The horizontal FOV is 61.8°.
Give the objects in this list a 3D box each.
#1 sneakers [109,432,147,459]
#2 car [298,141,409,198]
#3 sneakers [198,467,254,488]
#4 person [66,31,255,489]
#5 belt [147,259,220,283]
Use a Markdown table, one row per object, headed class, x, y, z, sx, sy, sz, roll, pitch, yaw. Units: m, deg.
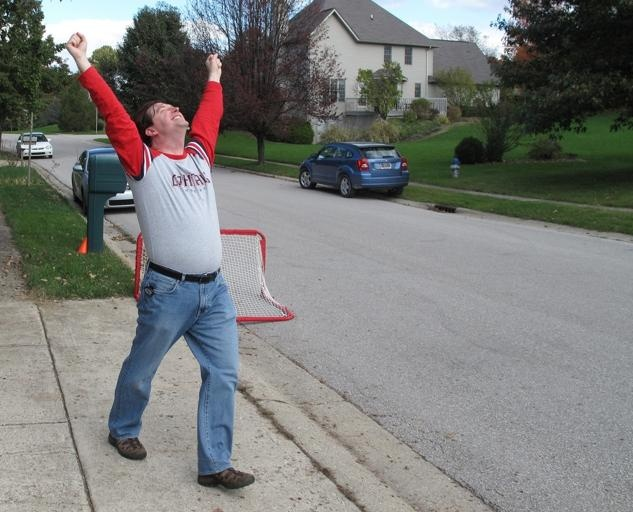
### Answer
| class | x | y | z | sx | sy | sz | roll | pitch | yaw |
| --- | --- | --- | --- | --- | --- | --- | --- | --- | --- |
| sneakers | -1.170 | 1.165 | 3.315 | 0.270 | 0.135 | 0.103 | 7 | 7 | 38 |
| car | 1.471 | -3.422 | 20.654 | 1.550 | 2.111 | 4.293 | -4 | 13 | -43 |
| sneakers | -0.514 | 1.228 | 3.053 | 0.292 | 0.168 | 0.125 | -2 | 6 | 7 |
| person | -0.805 | 0.116 | 3.115 | 1.032 | 2.303 | 0.439 | 6 | 8 | 12 |
| belt | -0.773 | 0.093 | 3.083 | 0.387 | 0.103 | 0.146 | 2 | 10 | -18 |
